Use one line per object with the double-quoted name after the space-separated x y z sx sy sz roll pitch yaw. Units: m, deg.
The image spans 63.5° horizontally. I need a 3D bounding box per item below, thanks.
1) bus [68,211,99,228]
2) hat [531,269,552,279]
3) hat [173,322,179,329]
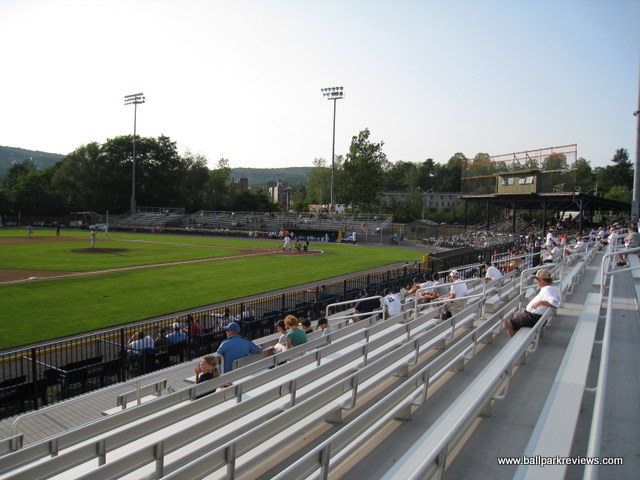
-36.415 -3.033 79.745 2.751 2.171 3.197 1 4 11 "bus"
4.282 0.659 9.966 0.298 0.134 0.318 5 14 29 "hat"
-3.942 2.402 14.170 0.204 0.210 0.208 0 8 -17 "hat"
